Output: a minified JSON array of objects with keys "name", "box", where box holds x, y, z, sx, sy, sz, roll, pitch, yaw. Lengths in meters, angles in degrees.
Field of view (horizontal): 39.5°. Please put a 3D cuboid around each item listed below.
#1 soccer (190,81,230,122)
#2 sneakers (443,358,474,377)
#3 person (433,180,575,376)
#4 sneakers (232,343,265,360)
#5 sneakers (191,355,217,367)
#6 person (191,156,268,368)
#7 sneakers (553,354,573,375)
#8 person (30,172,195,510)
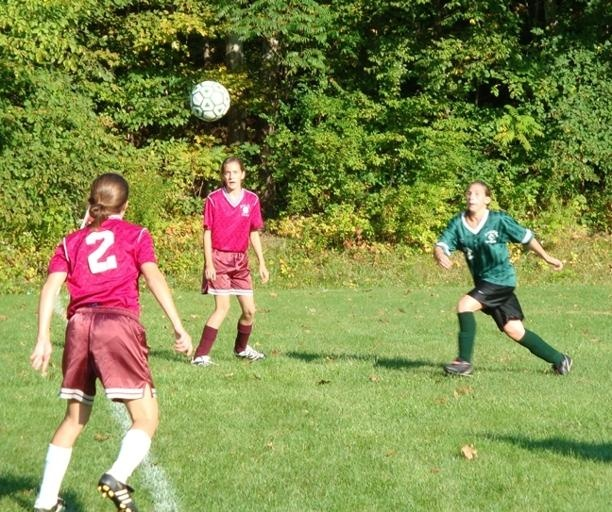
[{"name":"soccer","box":[-1.904,-3.019,17.014,0.750,0.898,0.807,-2,-12,-16]},{"name":"sneakers","box":[1.767,1.303,9.845,0.265,0.182,0.168,2,0,0]},{"name":"person","box":[2.199,0.276,9.879,1.404,2.221,0.594,1,6,9]},{"name":"sneakers","box":[-0.730,1.236,10.982,0.394,0.234,0.168,1,4,8]},{"name":"sneakers","box":[-1.261,1.316,10.585,0.310,0.177,0.121,1,1,6]},{"name":"person","box":[-0.952,0.229,10.690,0.936,2.232,0.535,-1,6,-9]},{"name":"sneakers","box":[3.061,1.316,10.127,0.130,0.363,0.115,-1,9,-35]},{"name":"person","box":[-1.565,0.744,6.843,0.924,2.734,0.927,3,7,27]}]
